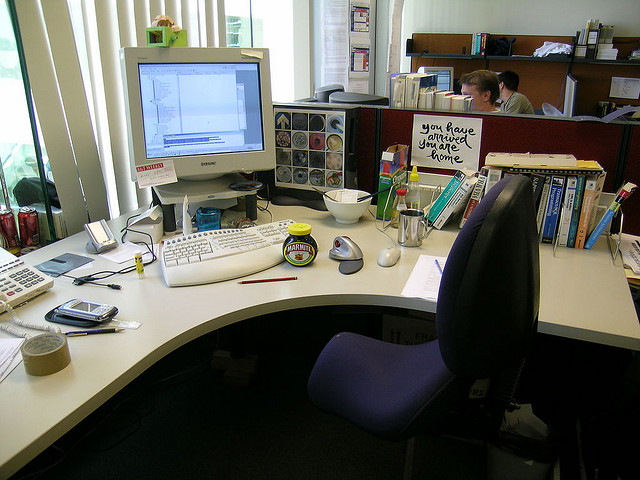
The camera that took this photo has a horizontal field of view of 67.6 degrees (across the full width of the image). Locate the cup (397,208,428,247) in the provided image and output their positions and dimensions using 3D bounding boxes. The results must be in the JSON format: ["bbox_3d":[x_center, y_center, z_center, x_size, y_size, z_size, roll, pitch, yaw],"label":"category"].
[{"bbox_3d":[0.347,-0.049,1.845,0.088,0.129,0.147,-7,21,-19],"label":"cup"}]

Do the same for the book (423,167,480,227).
[{"bbox_3d":[0.512,-0.182,1.934,0.203,0.238,0.123,7,21,19],"label":"book"}]

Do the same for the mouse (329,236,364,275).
[{"bbox_3d":[0.099,0.051,1.700,0.129,0.075,0.229,-5,27,-1],"label":"mouse"}]

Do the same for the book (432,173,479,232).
[{"bbox_3d":[0.548,-0.151,1.928,0.047,0.197,0.194,32,-9,10],"label":"book"}]

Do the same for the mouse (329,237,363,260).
[{"bbox_3d":[0.091,0.036,1.725,0.091,0.053,0.084,10,23,30],"label":"mouse"}]

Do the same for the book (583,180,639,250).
[{"bbox_3d":[1.110,-0.103,1.838,0.044,0.320,0.246,37,22,12],"label":"book"}]

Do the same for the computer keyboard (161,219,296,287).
[{"bbox_3d":[-0.319,0.041,1.713,0.471,0.100,0.248,-11,26,-18],"label":"computer keyboard"}]

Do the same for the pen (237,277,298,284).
[{"bbox_3d":[-0.175,0.136,1.616,0.194,0.008,0.019,-5,25,-6],"label":"pen"}]

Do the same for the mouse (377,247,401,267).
[{"bbox_3d":[0.246,0.059,1.727,0.077,0.046,0.081,3,25,10],"label":"mouse"}]

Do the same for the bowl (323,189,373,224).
[{"bbox_3d":[0.115,-0.166,2.060,0.161,0.095,0.165,-1,19,0],"label":"bowl"}]

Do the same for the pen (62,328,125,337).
[{"bbox_3d":[-0.637,0.261,1.346,0.183,0.015,0.014,-3,1,-15],"label":"pen"}]

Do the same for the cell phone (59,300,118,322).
[{"bbox_3d":[-0.682,0.197,1.388,0.117,0.024,0.068,11,25,8],"label":"cell phone"}]
